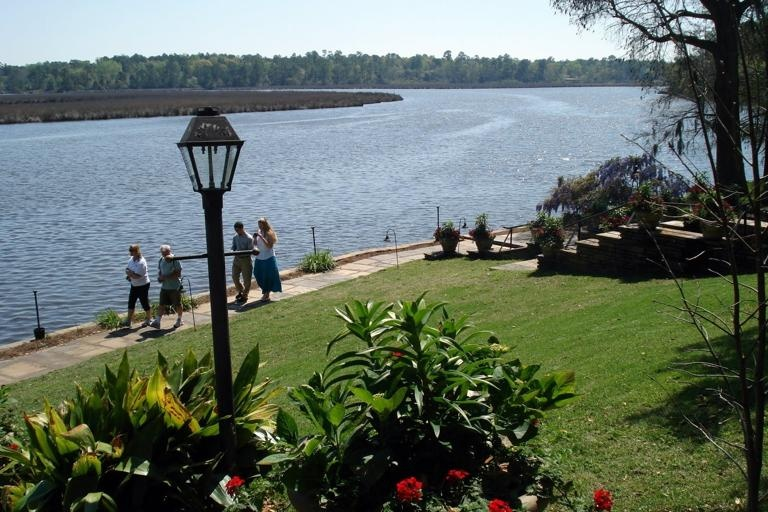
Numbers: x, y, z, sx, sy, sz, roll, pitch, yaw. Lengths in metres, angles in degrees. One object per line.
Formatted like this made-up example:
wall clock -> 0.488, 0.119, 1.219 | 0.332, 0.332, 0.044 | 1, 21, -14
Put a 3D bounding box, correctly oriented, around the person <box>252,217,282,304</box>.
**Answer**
person -> -2.908, 0.096, 16.443 | 0.638, 2.019, 1.002 | -6, 10, -10
